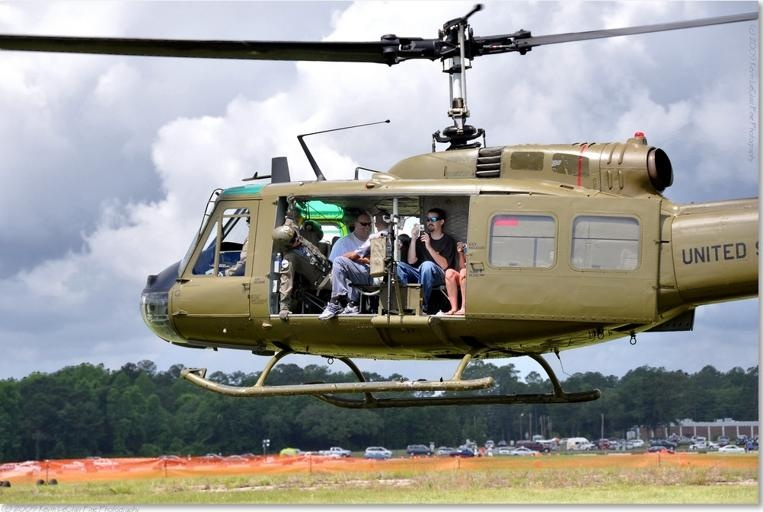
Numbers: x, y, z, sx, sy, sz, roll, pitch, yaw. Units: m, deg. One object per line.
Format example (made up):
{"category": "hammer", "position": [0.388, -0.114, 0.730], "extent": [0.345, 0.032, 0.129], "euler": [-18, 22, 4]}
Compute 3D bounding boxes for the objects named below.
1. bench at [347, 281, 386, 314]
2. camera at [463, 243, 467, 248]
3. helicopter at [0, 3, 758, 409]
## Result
{"category": "bench", "position": [-0.494, 1.556, 51.713], "extent": [1.337, 1.563, 1.424], "euler": [3, -7, -12]}
{"category": "camera", "position": [3.262, -0.426, 51.052], "extent": [0.117, 0.141, 0.053], "euler": [-5, -9, 12]}
{"category": "helicopter", "position": [3.420, -2.210, 54.800], "extent": [23.302, 8.461, 17.570], "euler": [0, -5, 12]}
